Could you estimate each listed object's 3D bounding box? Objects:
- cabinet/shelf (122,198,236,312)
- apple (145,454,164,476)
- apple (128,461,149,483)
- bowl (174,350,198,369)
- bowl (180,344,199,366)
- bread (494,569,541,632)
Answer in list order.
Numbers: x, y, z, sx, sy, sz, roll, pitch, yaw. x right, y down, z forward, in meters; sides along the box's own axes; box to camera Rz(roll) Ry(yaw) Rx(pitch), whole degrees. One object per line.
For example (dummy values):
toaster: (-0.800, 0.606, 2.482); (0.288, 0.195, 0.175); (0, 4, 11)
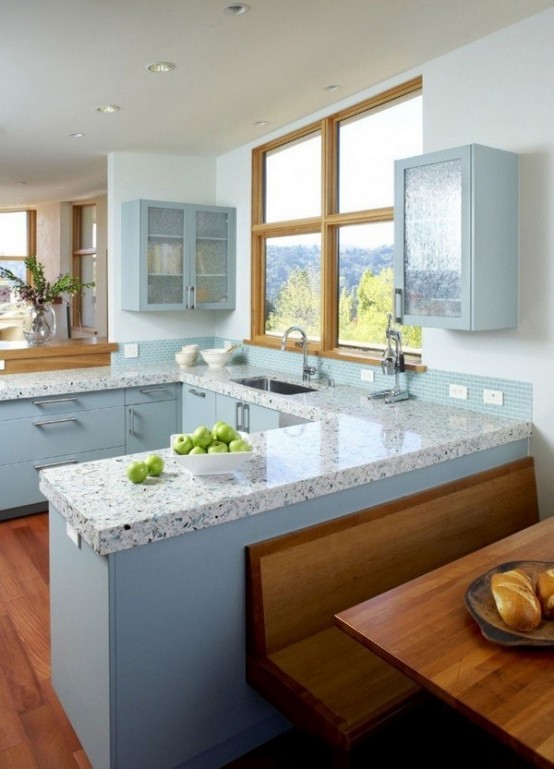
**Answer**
cabinet/shelf: (-0.743, -0.956, 4.430); (0.869, 0.785, 0.381); (-2, 5, -29)
apple: (-0.356, 0.239, 1.775); (0.057, 0.067, 0.058); (1, -7, -12)
apple: (-0.390, 0.244, 1.714); (0.056, 0.069, 0.058); (1, -1, 44)
bowl: (-0.675, -0.185, 4.539); (0.136, 0.101, 0.143); (0, 1, 0)
bowl: (-0.629, -0.229, 4.544); (0.142, 0.157, 0.142); (0, 0, 0)
bread: (0.483, 0.423, 1.210); (0.075, 0.048, 0.138); (2, 17, 8)
